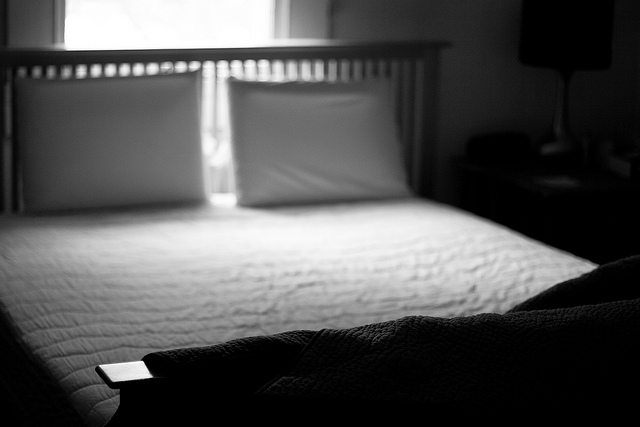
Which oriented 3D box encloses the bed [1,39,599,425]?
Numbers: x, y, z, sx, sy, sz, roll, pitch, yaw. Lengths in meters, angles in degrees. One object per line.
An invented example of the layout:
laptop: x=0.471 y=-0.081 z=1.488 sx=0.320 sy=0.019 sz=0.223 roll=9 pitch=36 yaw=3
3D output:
bed: x=-0.296 y=-0.063 z=1.832 sx=1.466 sy=0.899 sz=1.475 roll=-4 pitch=16 yaw=-18
